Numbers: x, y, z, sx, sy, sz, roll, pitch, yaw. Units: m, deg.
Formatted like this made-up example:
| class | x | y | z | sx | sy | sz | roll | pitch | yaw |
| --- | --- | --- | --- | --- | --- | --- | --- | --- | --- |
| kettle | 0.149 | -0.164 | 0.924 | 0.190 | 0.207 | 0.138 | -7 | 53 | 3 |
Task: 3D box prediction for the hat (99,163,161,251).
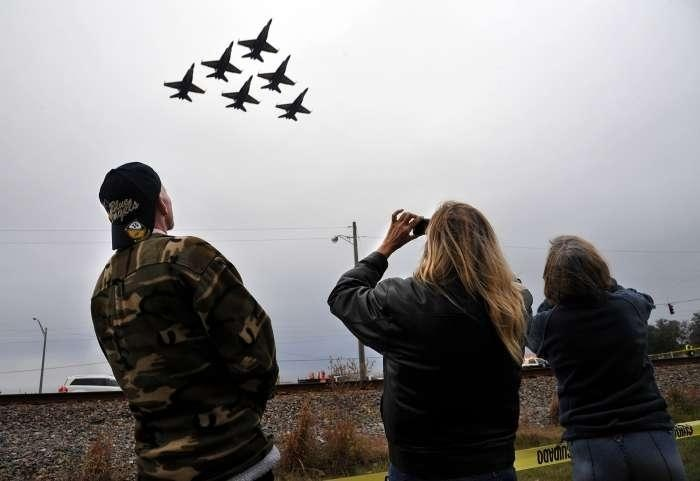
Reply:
| class | x | y | z | sx | sy | sz | roll | pitch | yaw |
| --- | --- | --- | --- | --- | --- | --- | --- | --- | --- |
| hat | -1.529 | -0.215 | 4.035 | 0.371 | 0.671 | 0.312 | -10 | -28 | 9 |
